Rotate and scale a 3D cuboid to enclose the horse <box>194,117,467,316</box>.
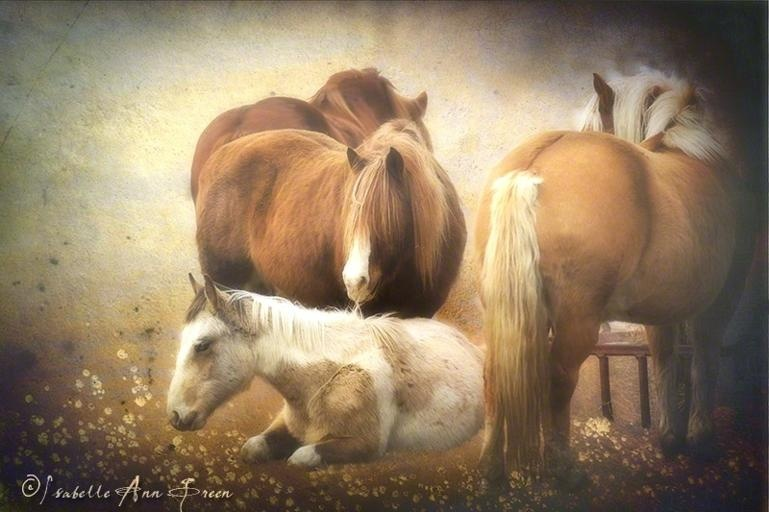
[{"bbox_3d":[-0.225,-0.183,4.229,1.298,0.901,0.672,3,8,33],"label":"horse"}]
